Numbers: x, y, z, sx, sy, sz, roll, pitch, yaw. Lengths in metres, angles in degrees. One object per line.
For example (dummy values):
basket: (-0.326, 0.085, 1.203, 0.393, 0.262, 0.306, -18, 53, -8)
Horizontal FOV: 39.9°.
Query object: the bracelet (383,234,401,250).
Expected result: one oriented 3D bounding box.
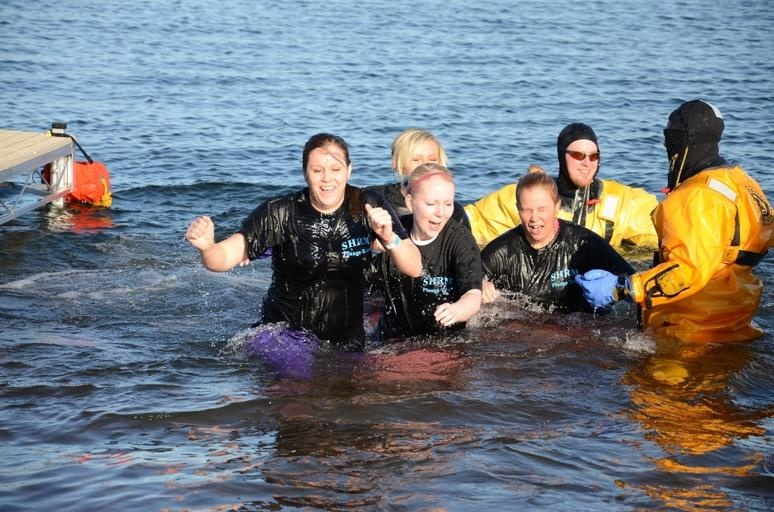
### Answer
bracelet: (0.056, -0.157, 11.800, 0.176, 0.065, 0.199, -22, -2, 6)
